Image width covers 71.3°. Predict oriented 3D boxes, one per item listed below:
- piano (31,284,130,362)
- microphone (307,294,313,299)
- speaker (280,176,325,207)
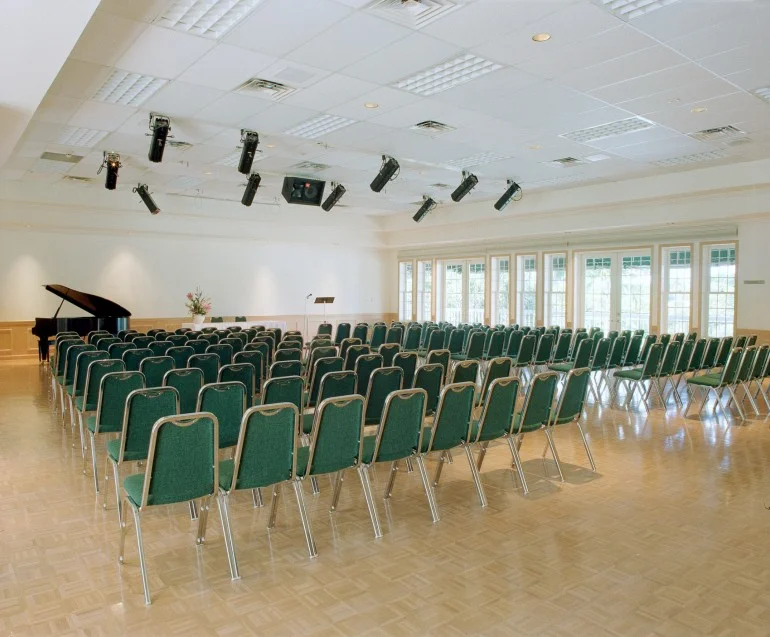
[{"bbox_3d":[-6.697,0.011,12.637,2.689,1.627,1.604,4,-4,-38],"label":"piano"},{"bbox_3d":[-2.558,-0.742,18.286,0.063,0.203,0.224,5,7,39],"label":"microphone"},{"bbox_3d":[-1.671,-2.535,10.770,1.101,0.619,0.546,-1,14,-28],"label":"speaker"}]
